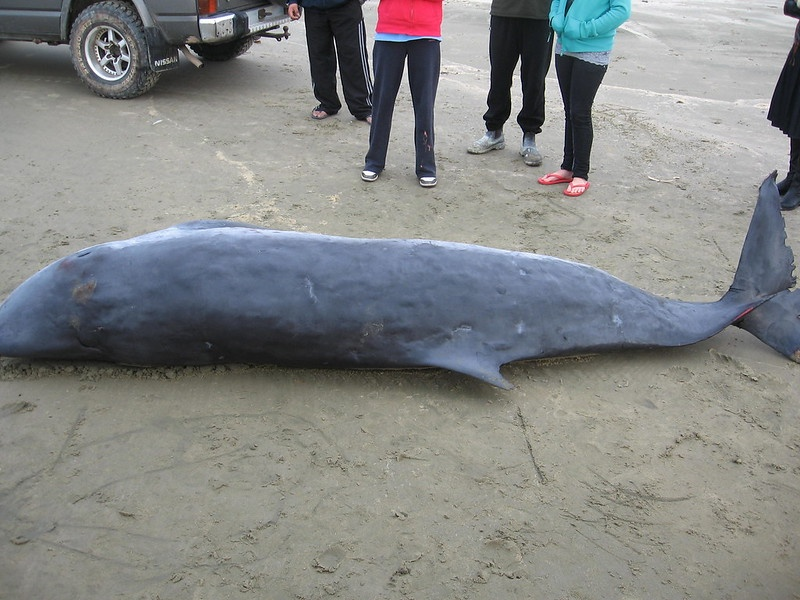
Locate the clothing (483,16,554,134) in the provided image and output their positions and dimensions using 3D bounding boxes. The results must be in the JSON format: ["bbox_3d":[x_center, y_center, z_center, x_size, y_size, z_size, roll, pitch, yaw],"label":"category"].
[{"bbox_3d":[1.236,-2.400,7.197,0.707,1.379,0.405,12,42,17],"label":"clothing"}]

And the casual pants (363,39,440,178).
[{"bbox_3d":[0.017,-1.827,6.453,0.659,1.215,0.658,2,39,0],"label":"casual pants"}]

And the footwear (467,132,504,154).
[{"bbox_3d":[0.936,-1.726,7.425,0.462,0.211,0.138,-27,47,-36],"label":"footwear"}]

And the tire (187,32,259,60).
[{"bbox_3d":[-2.541,-3.604,9.781,0.792,0.206,0.699,1,15,19],"label":"tire"}]
